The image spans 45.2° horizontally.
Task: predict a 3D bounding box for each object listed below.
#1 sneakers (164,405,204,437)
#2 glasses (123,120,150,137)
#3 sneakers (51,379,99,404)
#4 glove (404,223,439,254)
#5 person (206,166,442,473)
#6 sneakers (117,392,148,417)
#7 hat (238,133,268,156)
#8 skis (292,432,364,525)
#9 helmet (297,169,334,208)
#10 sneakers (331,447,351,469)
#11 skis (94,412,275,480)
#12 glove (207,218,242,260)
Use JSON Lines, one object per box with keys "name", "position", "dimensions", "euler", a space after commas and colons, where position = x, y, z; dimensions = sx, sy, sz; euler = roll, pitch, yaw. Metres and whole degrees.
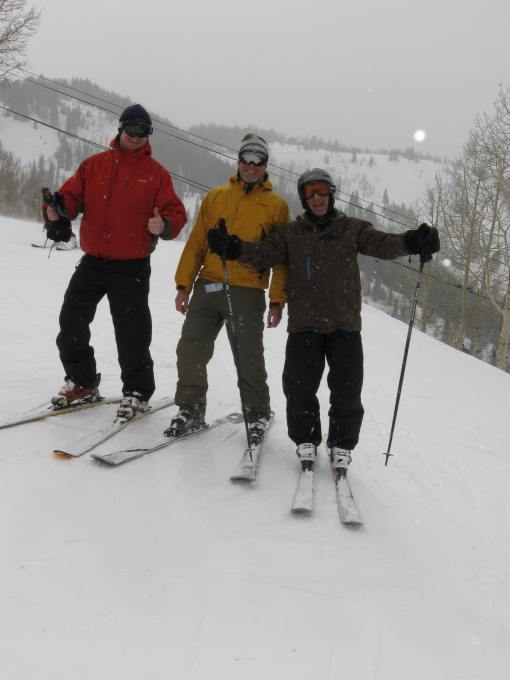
{"name": "sneakers", "position": [-0.399, 0.483, 3.657], "dimensions": [0.097, 0.134, 0.300], "euler": [3, 5, 24]}
{"name": "glasses", "position": [-0.680, -1.232, 3.571], "dimensions": [0.175, 0.092, 0.110], "euler": [4, 12, -18]}
{"name": "sneakers", "position": [-1.140, 0.336, 3.933], "dimensions": [0.113, 0.149, 0.330], "euler": [0, 0, 43]}
{"name": "glove", "position": [0.867, -0.529, 3.209], "dimensions": [0.189, 0.164, 0.170], "euler": [10, 12, 13]}
{"name": "person", "position": [0.346, -0.150, 3.305], "dimensions": [1.078, 1.513, 0.481], "euler": [11, 12, 16]}
{"name": "sneakers", "position": [-0.756, 0.415, 3.813], "dimensions": [0.083, 0.107, 0.250], "euler": [7, 0, 12]}
{"name": "hat", "position": [-0.002, -1.116, 3.511], "dimensions": [0.121, 0.120, 0.172], "euler": [2, 0, 23]}
{"name": "skis", "position": [0.361, 0.704, 3.084], "dimensions": [0.203, 0.082, 0.686], "euler": [5, 13, 3]}
{"name": "helmet", "position": [0.347, -0.858, 3.383], "dimensions": [0.170, 0.180, 0.199], "euler": [-3, -30, 14]}
{"name": "sneakers", "position": [0.444, 0.628, 3.212], "dimensions": [0.087, 0.118, 0.117], "euler": [4, -36, -1]}
{"name": "skis", "position": [-0.103, 0.517, 4.222], "dimensions": [0.285, 0.290, 2.654], "euler": [13, 5, 24]}
{"name": "glove", "position": [-0.157, -0.524, 3.259], "dimensions": [0.088, 0.213, 0.156], "euler": [-26, 6, -41]}
